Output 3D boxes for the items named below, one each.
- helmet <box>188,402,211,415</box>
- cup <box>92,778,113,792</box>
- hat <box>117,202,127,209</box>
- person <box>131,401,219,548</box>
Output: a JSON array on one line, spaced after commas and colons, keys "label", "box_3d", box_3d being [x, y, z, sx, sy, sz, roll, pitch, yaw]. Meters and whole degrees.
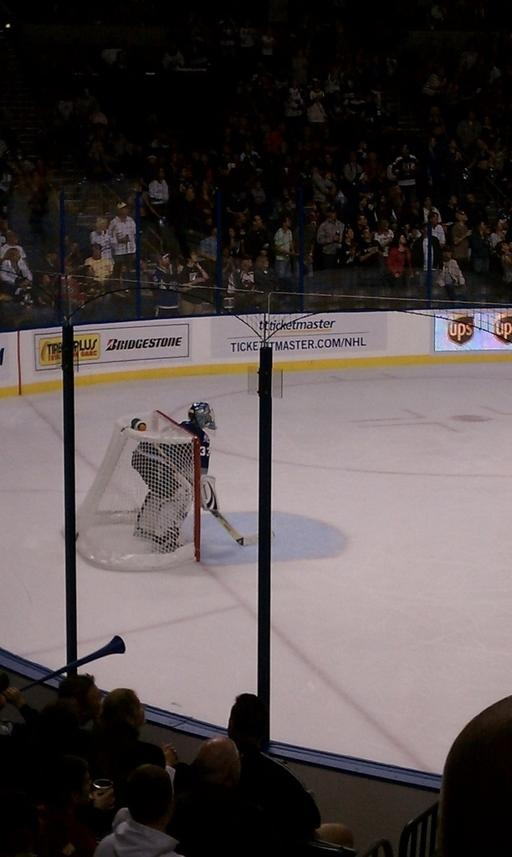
[{"label": "helmet", "box_3d": [-0.522, -0.193, 7.276, 0.180, 0.121, 0.128, -5, 7, 8]}, {"label": "cup", "box_3d": [-0.572, 1.334, 3.020, 0.059, 0.042, 0.053, -3, 8, -34]}, {"label": "hat", "box_3d": [-2.117, -3.523, 12.736, 0.143, 0.094, 0.101, -1, 14, -9]}, {"label": "person", "box_3d": [-0.730, 0.446, 7.140, 0.510, 1.226, 0.645, 11, 17, 35]}]
